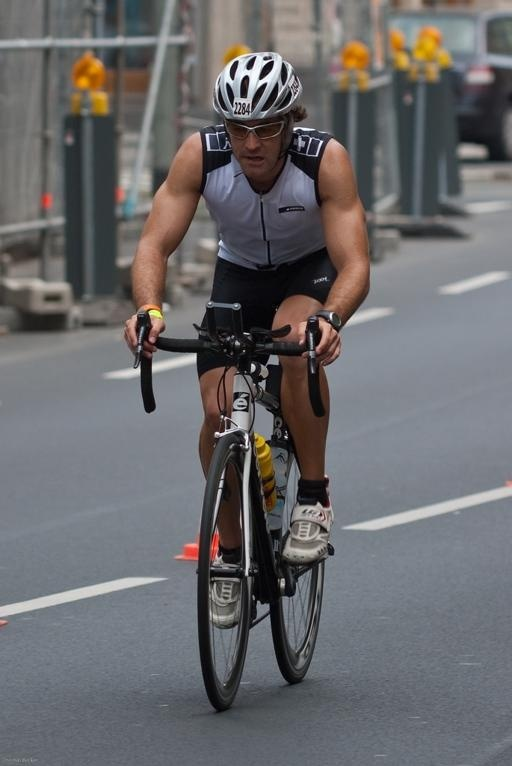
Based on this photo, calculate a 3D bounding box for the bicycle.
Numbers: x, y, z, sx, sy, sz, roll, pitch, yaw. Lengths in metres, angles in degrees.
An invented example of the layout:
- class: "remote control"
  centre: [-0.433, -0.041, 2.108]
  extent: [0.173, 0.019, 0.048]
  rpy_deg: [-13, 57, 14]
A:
- class: "bicycle"
  centre: [-0.039, 0.344, 2.520]
  extent: [0.500, 1.126, 1.000]
  rpy_deg: [-1, 6, 3]

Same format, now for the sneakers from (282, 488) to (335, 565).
- class: "sneakers"
  centre: [0.138, 0.402, 2.641]
  extent: [0.086, 0.092, 0.223]
  rpy_deg: [2, 25, 8]

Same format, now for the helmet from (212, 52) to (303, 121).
- class: "helmet"
  centre: [0.001, -0.759, 2.389]
  extent: [0.231, 0.110, 0.313]
  rpy_deg: [4, 31, 19]

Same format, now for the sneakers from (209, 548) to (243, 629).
- class: "sneakers"
  centre: [-0.076, 0.524, 2.421]
  extent: [0.067, 0.182, 0.075]
  rpy_deg: [0, 4, 8]
